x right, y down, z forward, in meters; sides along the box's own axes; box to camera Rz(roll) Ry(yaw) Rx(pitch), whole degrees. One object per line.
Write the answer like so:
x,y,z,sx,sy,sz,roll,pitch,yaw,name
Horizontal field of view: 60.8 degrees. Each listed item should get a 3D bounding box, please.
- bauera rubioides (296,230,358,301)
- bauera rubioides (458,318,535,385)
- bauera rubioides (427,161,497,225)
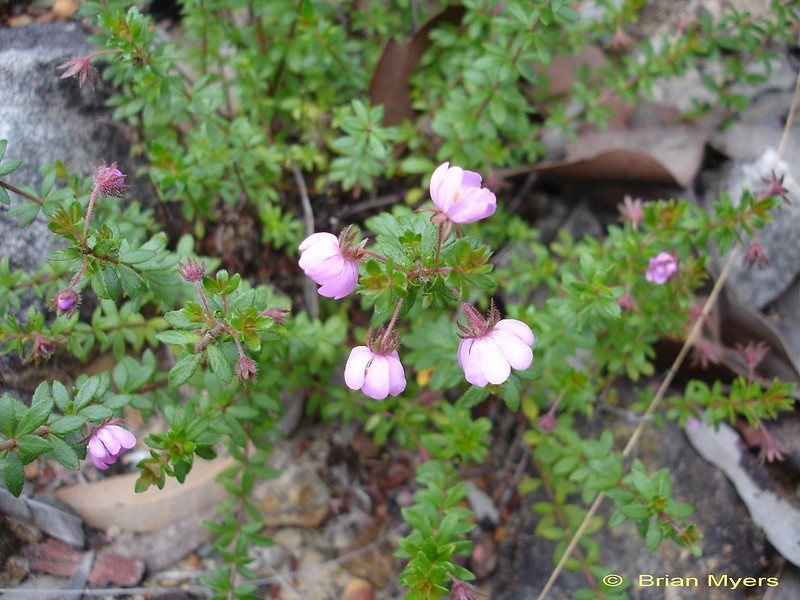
-0.312,-0.112,3.339,0.248,0.273,0.146,14,74,-1,bauera rubioides
0.466,0.248,3.233,0.324,0.226,0.262,-12,51,-22,bauera rubioides
0.315,-0.464,3.189,0.192,0.314,0.271,-29,21,-24,bauera rubioides
